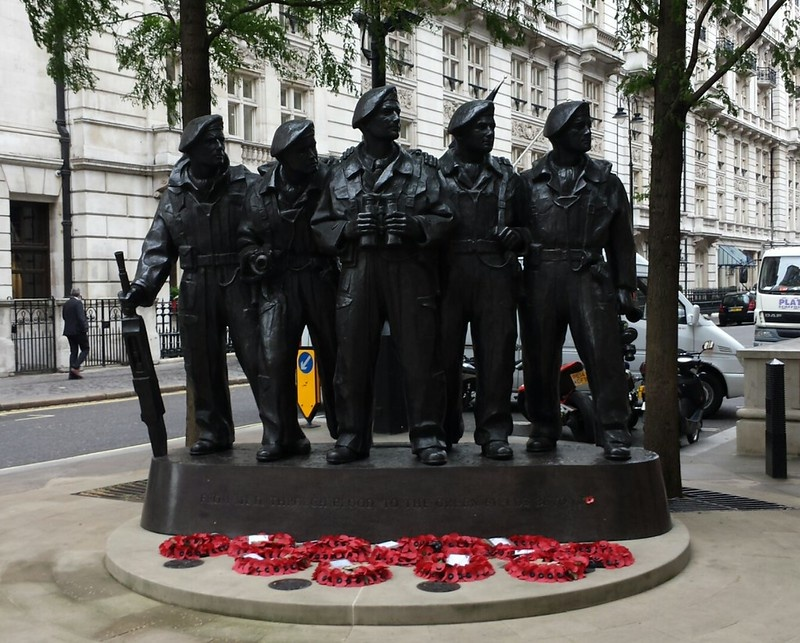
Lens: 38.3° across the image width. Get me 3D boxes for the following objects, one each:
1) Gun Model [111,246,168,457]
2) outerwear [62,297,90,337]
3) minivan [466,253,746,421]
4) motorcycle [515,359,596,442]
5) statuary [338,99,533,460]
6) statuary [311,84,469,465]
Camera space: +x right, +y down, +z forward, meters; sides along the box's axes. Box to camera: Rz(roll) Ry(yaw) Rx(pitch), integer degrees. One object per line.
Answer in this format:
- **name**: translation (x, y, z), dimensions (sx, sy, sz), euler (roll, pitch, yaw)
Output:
- **Gun Model**: translation (-2.274, 0.284, 10.156), dimensions (0.480, 1.798, 0.801), euler (1, 0, -14)
- **outerwear**: translation (-6.375, -0.093, 22.607), dimensions (0.437, 0.772, 0.426), euler (1, 0, -19)
- **minivan**: translation (3.573, 0.344, 17.695), dimensions (5.017, 2.732, 2.035), euler (-4, 0, -4)
- **motorcycle**: translation (2.208, 0.985, 15.043), dimensions (0.805, 1.002, 1.444), euler (-12, 8, -43)
- **statuary**: translation (-0.149, -0.399, 9.735), dimensions (1.210, 3.053, 0.968), euler (-1, 7, 0)
- **statuary**: translation (-0.135, -0.393, 9.697), dimensions (1.121, 3.195, 0.508), euler (1, 0, -1)
